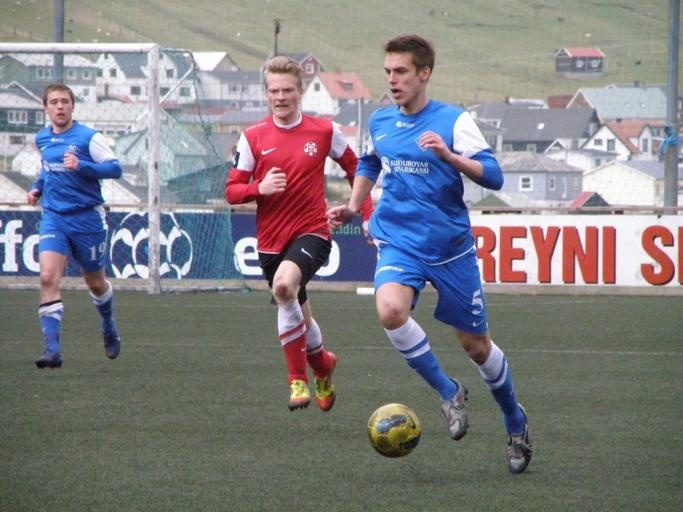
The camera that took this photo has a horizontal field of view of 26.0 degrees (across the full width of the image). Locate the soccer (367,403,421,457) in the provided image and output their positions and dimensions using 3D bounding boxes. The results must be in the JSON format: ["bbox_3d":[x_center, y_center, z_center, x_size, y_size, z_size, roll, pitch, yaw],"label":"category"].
[{"bbox_3d":[0.627,2.076,17.787,0.677,0.683,0.684,-3,-6,-15],"label":"soccer"}]

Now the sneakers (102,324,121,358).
[{"bbox_3d":[-3.154,1.175,20.226,0.186,0.514,0.205,-10,-1,-6],"label":"sneakers"}]
